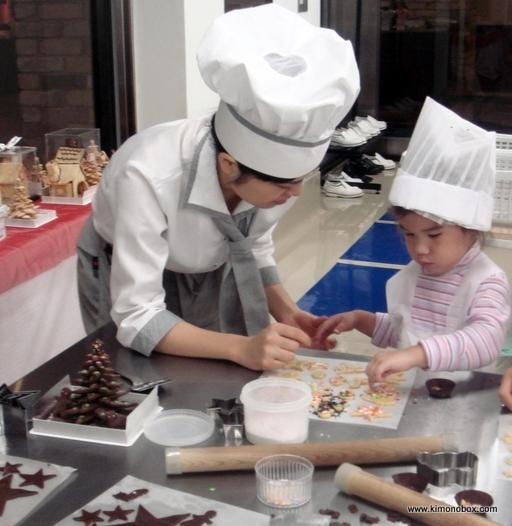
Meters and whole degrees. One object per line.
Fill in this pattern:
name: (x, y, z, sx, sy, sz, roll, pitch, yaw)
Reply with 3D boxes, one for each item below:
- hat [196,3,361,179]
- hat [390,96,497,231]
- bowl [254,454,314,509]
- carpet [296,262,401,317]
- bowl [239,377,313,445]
hat: (0.018, -0.371, 1.209, 0.410, 0.258, 0.377, -11, 60, -15)
hat: (0.458, -0.243, 1.248, 0.238, 0.326, 0.140, 6, 18, 25)
bowl: (0.040, 0.299, 0.683, 0.062, 0.058, 0.028, 33, 27, -17)
carpet: (0.669, 0.199, 3.638, 0.413, 0.004, 0.634, 7, 23, 20)
bowl: (0.036, 0.241, 0.859, 0.118, 0.056, 0.100, -1, 20, 0)
